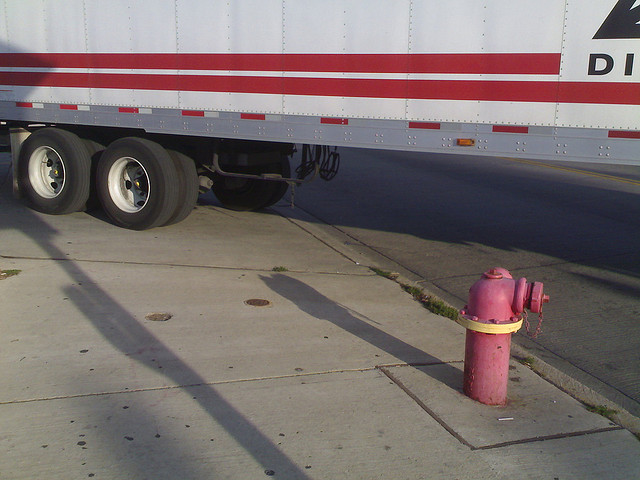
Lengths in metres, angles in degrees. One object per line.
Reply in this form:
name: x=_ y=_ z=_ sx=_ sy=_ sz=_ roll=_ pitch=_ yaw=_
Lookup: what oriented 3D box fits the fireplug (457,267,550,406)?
fireplug: x=1.559 y=0.845 z=4.820 sx=0.574 sy=1.158 sz=0.453 roll=-8 pitch=21 yaw=-24
